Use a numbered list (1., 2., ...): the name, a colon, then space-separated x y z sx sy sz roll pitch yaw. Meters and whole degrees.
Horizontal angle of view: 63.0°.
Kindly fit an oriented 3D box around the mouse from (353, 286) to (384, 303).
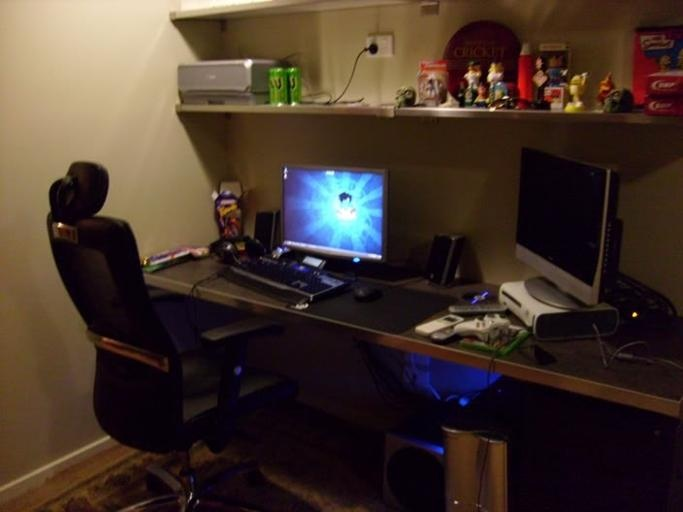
1. mouse: 0.108 0.163 2.492 0.132 0.044 0.142 7 19 28

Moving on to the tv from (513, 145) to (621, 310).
1. tv: 0.871 -0.104 2.129 0.183 0.502 0.527 -5 20 -12

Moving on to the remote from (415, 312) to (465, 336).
1. remote: 0.392 0.261 2.181 0.077 0.026 0.187 16 25 42

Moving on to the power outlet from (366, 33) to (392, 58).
1. power outlet: 0.189 -0.993 2.686 0.156 0.120 0.093 7 14 31

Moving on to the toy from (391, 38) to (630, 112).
1. toy: 0.764 -0.754 2.313 0.824 0.306 0.268 8 19 31

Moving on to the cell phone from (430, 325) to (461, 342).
1. cell phone: 0.393 0.297 2.109 0.119 0.033 0.054 -13 20 -33

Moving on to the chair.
1. chair: -0.651 0.184 2.133 0.741 1.103 0.431 -10 17 -27

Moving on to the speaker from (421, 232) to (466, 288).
1. speaker: 0.490 0.025 2.625 0.093 0.279 0.162 0 20 -47
